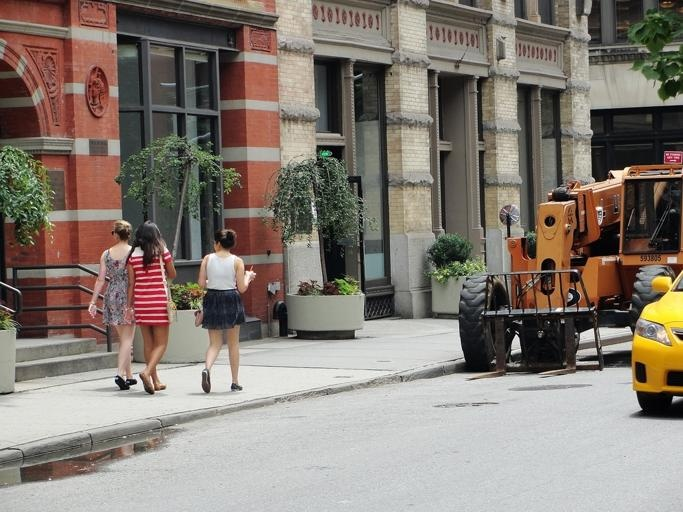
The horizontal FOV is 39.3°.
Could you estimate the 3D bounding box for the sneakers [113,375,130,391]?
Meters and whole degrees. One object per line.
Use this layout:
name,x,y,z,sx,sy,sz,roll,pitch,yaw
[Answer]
sneakers,-3.120,1.796,13.505,0.109,0.127,0.312,0,1,9

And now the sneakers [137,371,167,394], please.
sneakers,-2.679,1.769,13.258,0.165,0.254,0.565,-9,0,16

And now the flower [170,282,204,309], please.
flower,-2.690,0.682,16.387,0.508,0.323,0.518,1,10,-27

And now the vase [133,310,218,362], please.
vase,-2.830,1.323,16.425,0.942,0.771,0.992,0,1,7

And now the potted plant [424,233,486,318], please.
potted plant,2.629,0.443,23.626,1.684,2.488,1.753,0,4,5

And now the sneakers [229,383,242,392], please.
sneakers,-1.499,1.848,13.418,0.067,0.082,0.181,1,4,37

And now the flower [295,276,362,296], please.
flower,-0.295,0.625,19.439,1.247,0.351,1.023,-4,2,-9

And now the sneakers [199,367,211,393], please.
sneakers,-1.899,1.728,13.269,0.115,0.370,0.145,-5,19,-3

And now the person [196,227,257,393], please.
person,-1.683,0.768,13.639,0.760,2.259,0.937,-3,2,-9

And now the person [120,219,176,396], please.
person,-2.664,0.717,13.379,0.615,1.632,0.648,-4,2,-25
